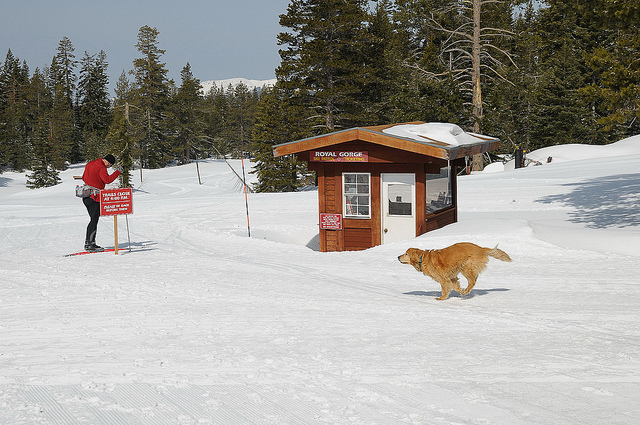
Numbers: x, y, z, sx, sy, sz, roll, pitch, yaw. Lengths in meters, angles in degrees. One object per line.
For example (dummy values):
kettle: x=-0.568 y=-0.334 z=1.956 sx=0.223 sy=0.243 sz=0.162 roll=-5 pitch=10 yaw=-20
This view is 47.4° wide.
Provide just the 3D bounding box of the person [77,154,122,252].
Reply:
person: x=-6.703 y=-0.273 z=21.941 sx=1.064 sy=3.039 sz=1.236 roll=-4 pitch=16 yaw=-16

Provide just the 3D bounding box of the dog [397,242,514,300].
dog: x=3.111 y=1.337 z=16.854 sx=2.680 sy=1.260 sz=0.695 roll=-2 pitch=2 yaw=20

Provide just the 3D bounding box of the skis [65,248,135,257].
skis: x=-6.579 y=1.181 z=21.839 sx=1.739 sy=0.111 sz=0.231 roll=-1 pitch=4 yaw=-41
